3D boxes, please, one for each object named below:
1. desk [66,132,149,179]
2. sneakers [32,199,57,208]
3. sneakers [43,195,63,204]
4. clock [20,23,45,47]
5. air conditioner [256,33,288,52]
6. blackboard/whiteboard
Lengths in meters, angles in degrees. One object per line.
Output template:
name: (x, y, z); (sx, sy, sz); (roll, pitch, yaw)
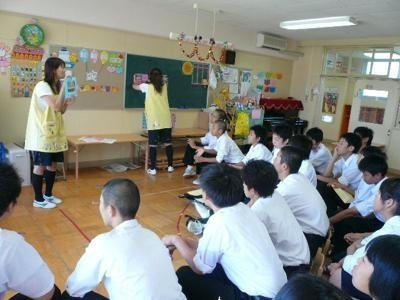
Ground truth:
desk: (-1.608, 0.082, 5.204); (1.328, 0.680, 1.106); (-2, 12, -29)
sneakers: (-1.986, 0.693, 3.752); (0.280, 0.116, 0.108); (1, 9, -12)
sneakers: (-1.943, 0.653, 3.892); (0.222, 0.092, 0.089); (15, 17, -32)
clock: (-2.509, -1.754, 4.523); (0.303, 0.311, 0.071); (19, 48, 22)
air conditioner: (1.784, -2.671, 7.354); (0.852, 0.314, 0.220); (-4, 20, -36)
blackboard/whiteboard: (-0.726, -1.413, 5.892); (1.410, 0.842, 0.024); (-3, 7, -36)
